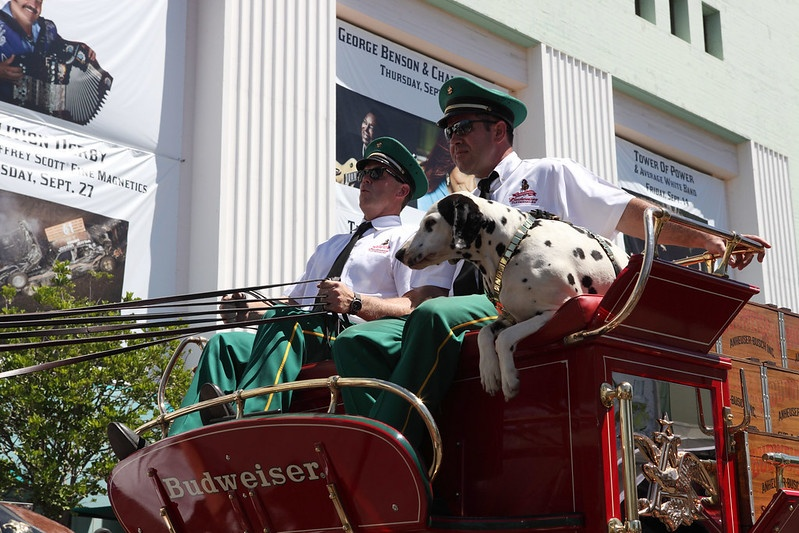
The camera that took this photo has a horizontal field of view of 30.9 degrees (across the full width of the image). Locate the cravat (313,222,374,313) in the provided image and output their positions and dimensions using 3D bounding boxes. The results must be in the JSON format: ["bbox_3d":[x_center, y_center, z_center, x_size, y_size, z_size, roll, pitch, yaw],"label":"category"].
[{"bbox_3d":[-0.557,-0.045,13.543,0.309,0.968,0.143,30,-18,12],"label":"cravat"}]

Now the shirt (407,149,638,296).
[{"bbox_3d":[1.364,-0.443,12.994,1.355,0.554,1.047,10,-24,5],"label":"shirt"}]

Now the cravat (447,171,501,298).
[{"bbox_3d":[0.707,-0.261,13.172,0.616,1.132,0.401,7,-13,-21],"label":"cravat"}]

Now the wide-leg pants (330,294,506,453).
[{"bbox_3d":[0.012,0.960,12.524,0.825,1.144,0.953,-13,-37,27],"label":"wide-leg pants"}]

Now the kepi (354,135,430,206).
[{"bbox_3d":[0.006,-0.964,14.200,0.670,0.267,0.597,39,-23,-24],"label":"kepi"}]

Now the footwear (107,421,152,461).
[{"bbox_3d":[-2.303,1.463,12.235,0.237,0.386,0.151,-40,-10,14],"label":"footwear"}]
